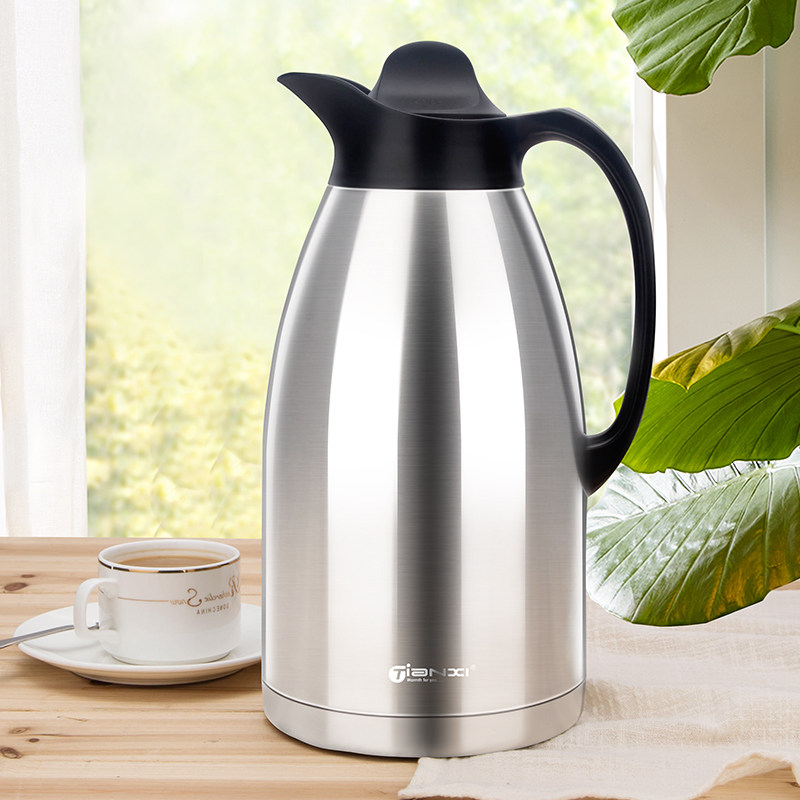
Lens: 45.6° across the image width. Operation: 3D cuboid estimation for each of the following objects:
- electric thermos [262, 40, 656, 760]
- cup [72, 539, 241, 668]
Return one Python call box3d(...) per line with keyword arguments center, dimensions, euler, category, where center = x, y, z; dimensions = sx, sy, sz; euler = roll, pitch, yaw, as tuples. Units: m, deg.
box3d(center=(0.022, -0.005, 0.441), dimensions=(0.184, 0.319, 0.097), euler=(2, 7, 13), category="electric thermos")
box3d(center=(-0.134, 0.114, 0.518), dimensions=(0.077, 0.052, 0.099), euler=(-3, -4, 24), category="cup")
